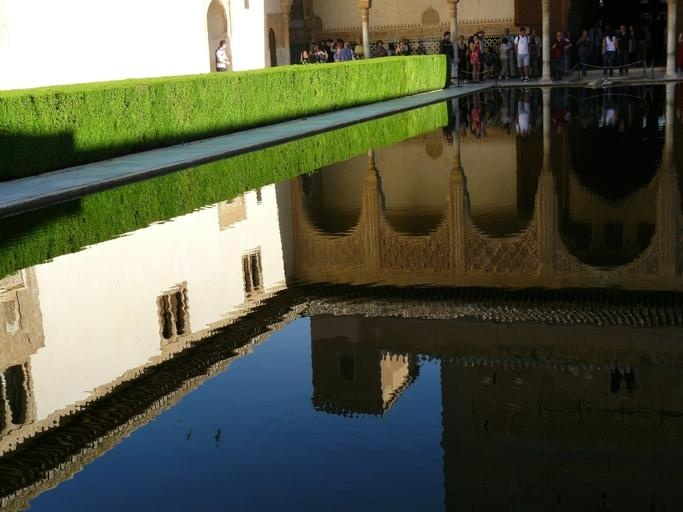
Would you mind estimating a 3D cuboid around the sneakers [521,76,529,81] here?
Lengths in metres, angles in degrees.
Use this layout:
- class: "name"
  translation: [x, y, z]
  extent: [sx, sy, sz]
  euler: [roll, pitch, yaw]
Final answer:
- class: "sneakers"
  translation: [6.042, -5.815, 21.633]
  extent: [0.120, 0.167, 0.351]
  euler: [1, 13, 10]

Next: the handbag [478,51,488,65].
- class: "handbag"
  translation: [4.933, -6.942, 23.038]
  extent: [0.274, 0.409, 0.689]
  euler: [1, 12, 17]

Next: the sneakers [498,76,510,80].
- class: "sneakers"
  translation: [5.794, -6.356, 23.405]
  extent: [0.365, 0.134, 0.294]
  euler: [-2, 11, 1]
